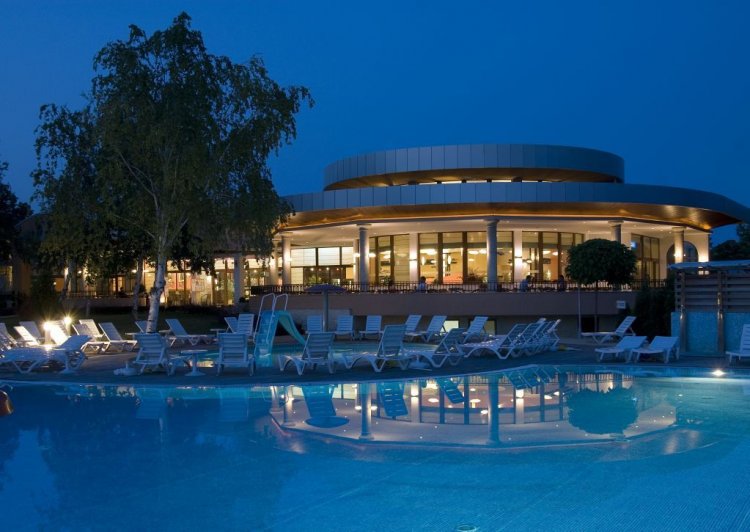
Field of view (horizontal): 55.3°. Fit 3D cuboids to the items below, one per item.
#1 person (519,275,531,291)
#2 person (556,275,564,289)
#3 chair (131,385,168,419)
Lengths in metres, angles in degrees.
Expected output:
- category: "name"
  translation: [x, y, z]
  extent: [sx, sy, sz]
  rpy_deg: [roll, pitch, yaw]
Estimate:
- category: "person"
  translation: [6.959, 0.917, 33.247]
  extent: [0.636, 0.978, 0.960]
  rpy_deg: [-1, -1, 11]
- category: "person"
  translation: [8.509, 0.903, 32.949]
  extent: [0.351, 0.613, 1.071]
  rpy_deg: [-3, -4, 13]
- category: "chair"
  translation: [-5.026, 3.095, 16.159]
  extent: [0.694, 0.407, 3.466]
  rpy_deg: [-1, -5, -18]
